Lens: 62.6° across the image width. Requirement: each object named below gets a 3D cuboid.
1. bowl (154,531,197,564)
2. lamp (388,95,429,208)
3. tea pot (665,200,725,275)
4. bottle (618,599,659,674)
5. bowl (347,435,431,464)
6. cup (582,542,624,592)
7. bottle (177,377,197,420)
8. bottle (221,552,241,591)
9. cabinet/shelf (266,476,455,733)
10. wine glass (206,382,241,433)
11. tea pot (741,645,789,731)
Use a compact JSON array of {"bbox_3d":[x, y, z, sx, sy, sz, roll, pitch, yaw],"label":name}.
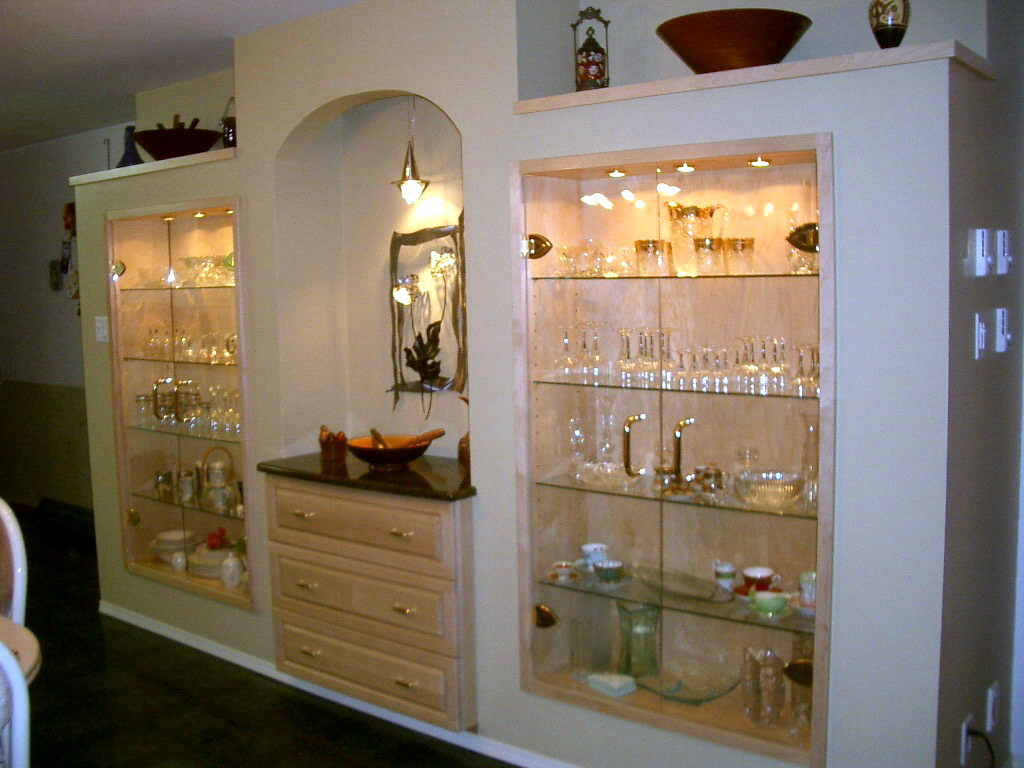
[{"bbox_3d":[-1.949,0.932,4.875,0.213,0.124,0.218,0,-1,0],"label":"bowl"},{"bbox_3d":[-0.480,-1.107,4.054,0.177,0.445,0.167,-2,3,-32],"label":"lamp"},{"bbox_3d":[0.686,-0.528,3.272,0.289,0.345,0.226,-1,3,5],"label":"tea pot"},{"bbox_3d":[0.553,1.051,3.414,0.133,0.270,0.148,-1,-22,15],"label":"bottle"},{"bbox_3d":[-0.618,0.329,4.095,0.302,0.113,0.378,-7,11,-34],"label":"bowl"},{"bbox_3d":[0.377,0.755,3.479,0.164,0.124,0.165,0,2,0],"label":"cup"},{"bbox_3d":[-1.829,0.104,4.747,0.198,0.222,0.056,6,10,41],"label":"bottle"},{"bbox_3d":[-1.524,1.015,4.566,0.140,0.182,0.060,2,8,21],"label":"bottle"},{"bbox_3d":[-0.615,0.958,4.068,1.183,1.057,0.490,3,8,34],"label":"cabinet/shelf"},{"bbox_3d":[-1.551,0.145,4.541,0.088,0.255,0.392,-7,10,-38],"label":"wine glass"},{"bbox_3d":[0.951,1.140,3.156,0.155,0.282,0.066,2,8,21],"label":"tea pot"}]
